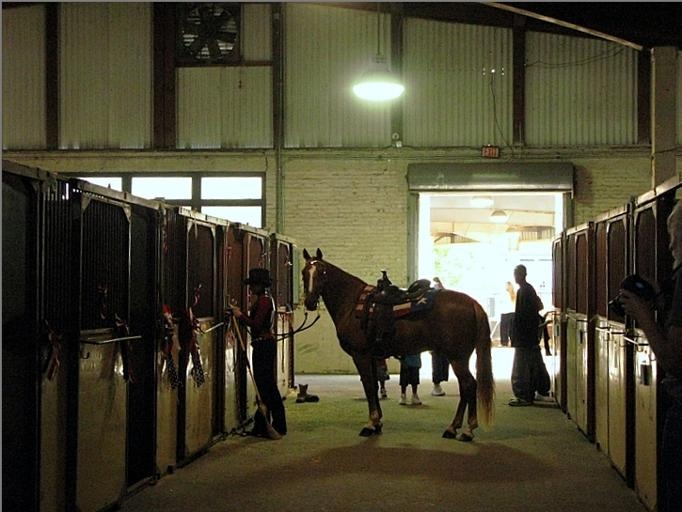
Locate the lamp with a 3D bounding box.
[{"bbox_3d":[0.629,-3.490,14.875,0.950,1.883,2.679,1,3,3],"label":"lamp"}]

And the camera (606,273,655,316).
[{"bbox_3d":[2.443,0.315,7.562,0.324,0.377,0.275,3,-6,-27],"label":"camera"}]

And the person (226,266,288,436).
[{"bbox_3d":[-0.963,1.124,10.843,0.627,1.902,0.469,2,5,37],"label":"person"}]

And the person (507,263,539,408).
[{"bbox_3d":[2.643,1.104,13.002,0.432,1.919,0.739,1,1,30],"label":"person"}]

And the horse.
[{"bbox_3d":[0.665,1.111,11.273,2.405,2.329,0.845,1,-3,10],"label":"horse"}]
